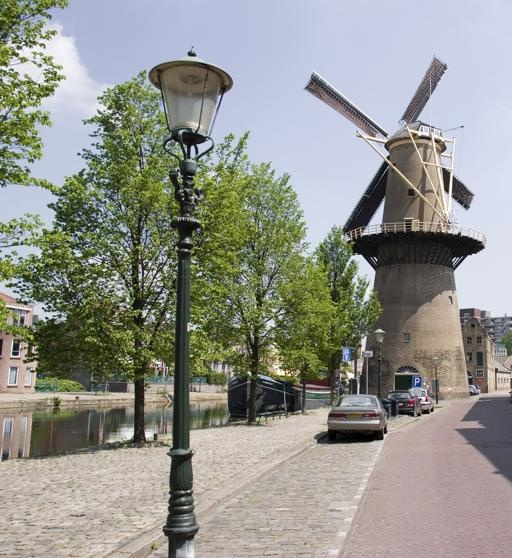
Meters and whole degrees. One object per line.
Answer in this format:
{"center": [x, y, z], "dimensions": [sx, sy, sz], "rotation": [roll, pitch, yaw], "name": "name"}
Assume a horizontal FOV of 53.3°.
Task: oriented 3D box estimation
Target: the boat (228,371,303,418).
{"center": [0.861, 8.036, 35.475], "dimensions": [2.441, 2.386, 7.290], "rotation": [-5, -11, 39], "name": "boat"}
